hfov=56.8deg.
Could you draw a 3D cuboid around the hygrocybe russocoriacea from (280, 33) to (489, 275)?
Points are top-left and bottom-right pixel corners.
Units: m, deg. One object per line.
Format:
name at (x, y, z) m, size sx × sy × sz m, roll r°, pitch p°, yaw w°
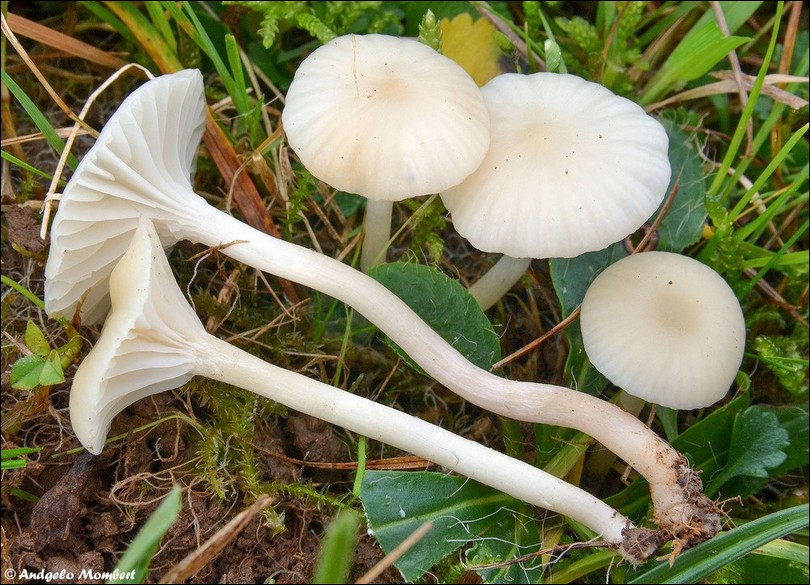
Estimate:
hygrocybe russocoriacea at (-0.143, -0.532, 2.146) m, size 0.598 × 0.679 × 0.787 m, roll 8°, pitch 21°, yaw 21°
